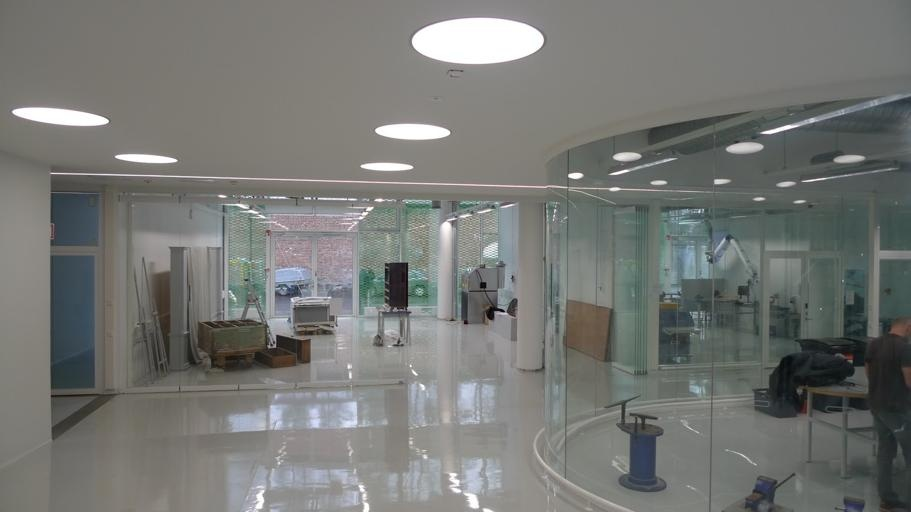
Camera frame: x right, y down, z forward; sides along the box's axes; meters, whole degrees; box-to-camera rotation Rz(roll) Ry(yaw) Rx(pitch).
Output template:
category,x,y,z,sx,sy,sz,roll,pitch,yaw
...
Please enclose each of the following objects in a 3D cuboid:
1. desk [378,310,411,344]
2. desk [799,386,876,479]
category,x,y,z,sx,sy,sz,roll,pitch,yaw
desk,-1.558,1.767,14.293,0.636,0.904,0.673,-11,-9,-18
desk,3.768,1.687,5.707,0.835,0.603,0.891,-1,-9,16
